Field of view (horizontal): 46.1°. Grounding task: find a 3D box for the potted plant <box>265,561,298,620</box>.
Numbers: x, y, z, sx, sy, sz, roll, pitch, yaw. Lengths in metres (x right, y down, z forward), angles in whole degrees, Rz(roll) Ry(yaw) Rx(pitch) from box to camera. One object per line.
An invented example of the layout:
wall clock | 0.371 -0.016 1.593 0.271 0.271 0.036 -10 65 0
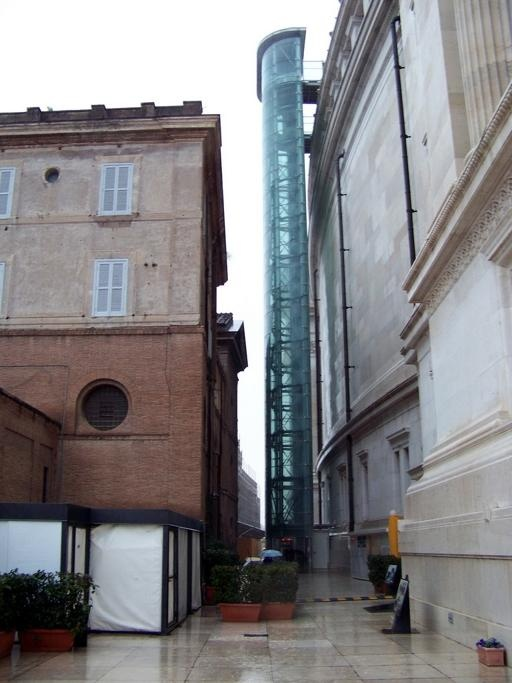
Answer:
potted plant | 0.539 5.804 13.962 0.784 1.226 0.965 0 -15 1

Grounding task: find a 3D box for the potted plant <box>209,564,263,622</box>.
potted plant | -0.411 5.735 13.865 1.435 1.557 1.189 1 -22 -2
